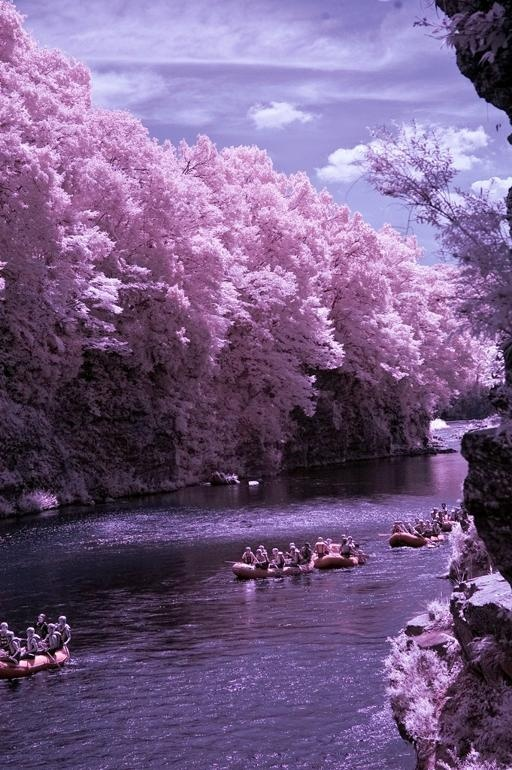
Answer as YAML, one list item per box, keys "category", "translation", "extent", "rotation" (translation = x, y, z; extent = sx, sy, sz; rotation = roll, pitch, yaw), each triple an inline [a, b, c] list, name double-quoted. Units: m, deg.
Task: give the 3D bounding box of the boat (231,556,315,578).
- category: "boat"
  translation: [0.532, 5.108, 21.425]
  extent: [2.514, 0.527, 0.749]
  rotation: [9, -15, -31]

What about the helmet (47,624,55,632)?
- category: "helmet"
  translation: [-3.799, 4.470, 14.272]
  extent: [0.098, 0.117, 0.121]
  rotation: [2, -19, -4]

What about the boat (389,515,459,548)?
- category: "boat"
  translation: [5.377, 4.755, 25.144]
  extent: [0.825, 0.440, 2.755]
  rotation: [2, -2, 25]
